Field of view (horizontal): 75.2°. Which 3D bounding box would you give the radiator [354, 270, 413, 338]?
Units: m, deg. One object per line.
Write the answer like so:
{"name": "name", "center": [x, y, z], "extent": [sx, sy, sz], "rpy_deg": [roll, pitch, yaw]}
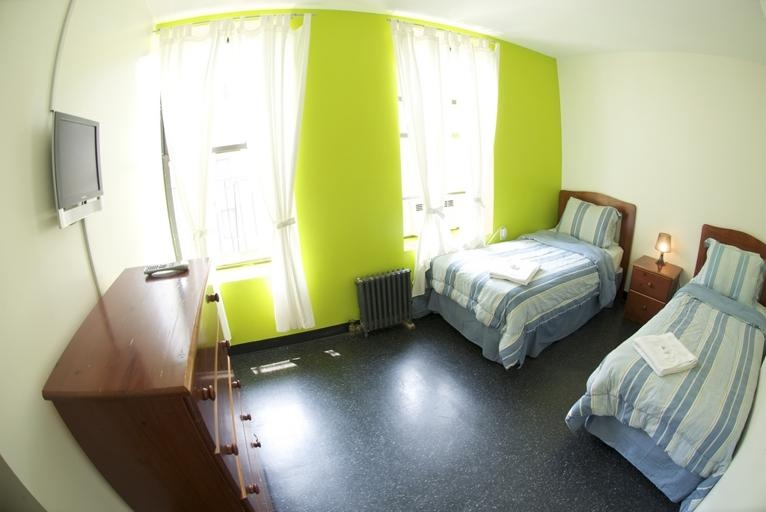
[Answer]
{"name": "radiator", "center": [-0.019, 0.529, 5.563], "extent": [0.612, 0.661, 0.204], "rpy_deg": [-8, 16, -26]}

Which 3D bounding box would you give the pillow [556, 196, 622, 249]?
{"name": "pillow", "center": [2.509, -0.404, 6.044], "extent": [0.167, 0.612, 0.595], "rpy_deg": [16, 9, -46]}

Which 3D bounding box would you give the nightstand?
{"name": "nightstand", "center": [2.935, 0.382, 5.354], "extent": [0.525, 0.787, 0.500], "rpy_deg": [-10, 19, -31]}

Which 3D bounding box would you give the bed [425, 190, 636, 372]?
{"name": "bed", "center": [1.789, 0.352, 5.865], "extent": [2.427, 1.458, 1.560], "rpy_deg": [-15, 27, -30]}
